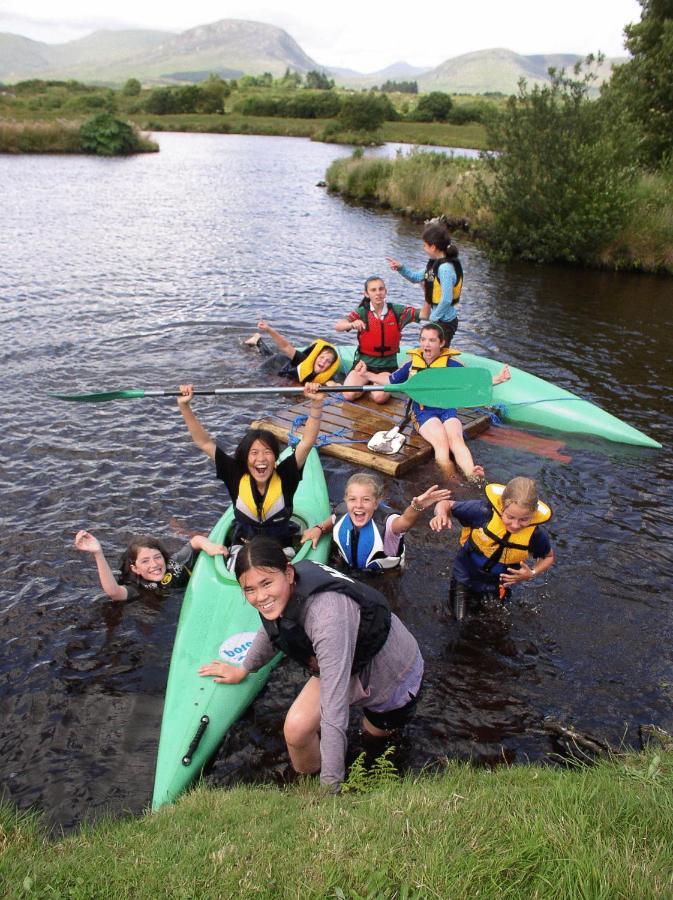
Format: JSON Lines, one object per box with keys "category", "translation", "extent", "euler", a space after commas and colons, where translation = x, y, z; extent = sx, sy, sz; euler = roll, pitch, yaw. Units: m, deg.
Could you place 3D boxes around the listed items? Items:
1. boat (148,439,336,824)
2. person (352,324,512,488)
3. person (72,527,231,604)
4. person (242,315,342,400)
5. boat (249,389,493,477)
{"category": "boat", "translation": [-0.563, 0.886, 4.169], "extent": [0.660, 0.374, 2.898], "euler": [6, 20, 2]}
{"category": "person", "translation": [0.846, -0.530, 6.053], "extent": [1.136, 0.557, 1.426], "euler": [6, -9, 9]}
{"category": "person", "translation": [-1.060, 0.635, 4.220], "extent": [0.400, 0.399, 0.951], "euler": [-24, -13, 38]}
{"category": "person", "translation": [-0.503, -0.990, 7.760], "extent": [1.067, 0.566, 1.436], "euler": [6, 15, -39]}
{"category": "boat", "translation": [0.188, -0.137, 6.007], "extent": [1.004, 0.137, 1.088], "euler": [14, 25, 35]}
